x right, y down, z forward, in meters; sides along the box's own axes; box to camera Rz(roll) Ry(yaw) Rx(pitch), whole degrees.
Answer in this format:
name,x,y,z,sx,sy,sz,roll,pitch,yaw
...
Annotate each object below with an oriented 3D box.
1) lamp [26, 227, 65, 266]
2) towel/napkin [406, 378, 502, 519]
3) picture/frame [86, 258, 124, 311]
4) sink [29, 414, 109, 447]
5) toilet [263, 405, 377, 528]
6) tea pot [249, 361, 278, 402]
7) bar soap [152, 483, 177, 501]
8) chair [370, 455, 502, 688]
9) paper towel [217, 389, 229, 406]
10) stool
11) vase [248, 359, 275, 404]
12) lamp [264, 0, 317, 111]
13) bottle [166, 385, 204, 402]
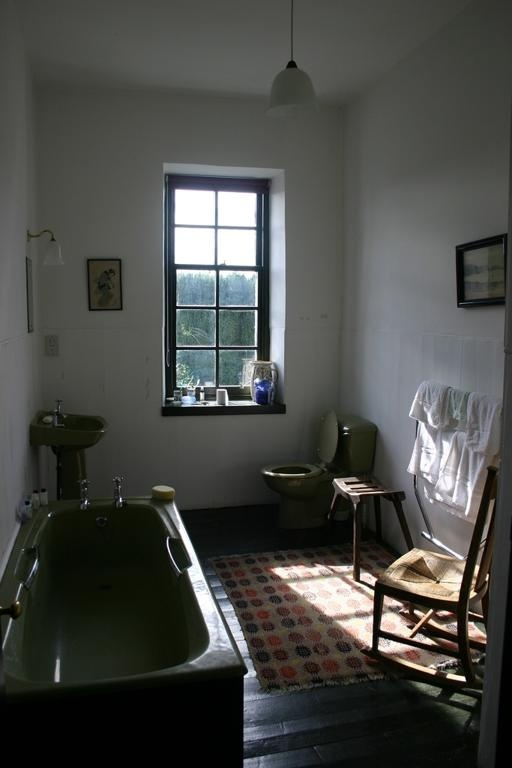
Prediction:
name,x,y,z,sx,sy,sz,roll,pitch,yaw
lamp,-1.188,-0.797,3.188,0.175,0.259,0.489,-1,4,-18
towel/napkin,0.827,0.258,2.314,0.178,0.594,0.544,2,11,-13
picture/frame,-0.953,-0.628,3.502,0.274,0.476,0.028,-2,6,-17
sink,-0.988,0.257,2.904,0.238,0.115,0.266,-1,9,-11
toilet,0.369,0.518,3.552,0.608,0.756,0.370,1,6,-12
tea pot,0.079,-0.023,4.047,0.218,0.400,0.239,2,5,0
bar soap,-0.429,0.517,2.605,0.101,0.051,0.105,3,9,-9
chair,0.688,0.652,2.079,0.428,0.827,0.479,-4,11,-36
paper towel,-0.223,0.103,3.913,0.069,0.108,0.103,0,0,-2
stool,0.604,0.720,2.996,0.395,0.420,0.465,-7,8,-25
vase,0.063,-0.007,3.961,0.169,0.291,0.269,-1,4,-7
lamp,0.154,-1.351,2.393,0.177,0.538,0.535,0,4,3
bottle,-0.493,0.076,3.933,0.276,0.111,0.153,-1,4,-8
